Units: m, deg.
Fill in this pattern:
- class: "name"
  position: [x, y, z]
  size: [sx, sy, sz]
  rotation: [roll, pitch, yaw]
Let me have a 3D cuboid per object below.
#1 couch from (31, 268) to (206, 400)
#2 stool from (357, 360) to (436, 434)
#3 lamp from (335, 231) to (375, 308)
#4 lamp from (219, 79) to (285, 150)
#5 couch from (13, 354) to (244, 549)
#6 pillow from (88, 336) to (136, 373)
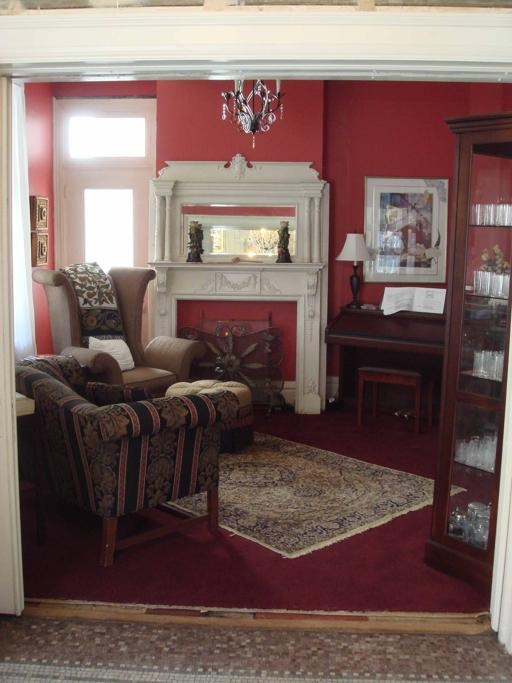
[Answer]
- class: "couch"
  position: [-1.264, 0.015, 5.307]
  size: [1.033, 1.371, 1.151]
  rotation: [6, 11, 37]
- class: "stool"
  position: [1.337, 0.517, 5.625]
  size: [0.651, 0.497, 0.488]
  rotation: [6, -11, -6]
- class: "lamp"
  position: [1.019, -0.746, 6.149]
  size: [0.392, 0.769, 0.429]
  rotation: [2, 5, 11]
- class: "lamp"
  position: [-0.032, -1.690, 4.160]
  size: [0.358, 0.538, 0.333]
  rotation: [-18, 7, 20]
- class: "couch"
  position: [-0.903, 0.478, 3.246]
  size: [1.408, 0.701, 0.764]
  rotation: [9, 10, 40]
- class: "pillow"
  position: [-1.191, 0.108, 4.820]
  size: [0.358, 0.152, 0.401]
  rotation: [25, 8, 41]
